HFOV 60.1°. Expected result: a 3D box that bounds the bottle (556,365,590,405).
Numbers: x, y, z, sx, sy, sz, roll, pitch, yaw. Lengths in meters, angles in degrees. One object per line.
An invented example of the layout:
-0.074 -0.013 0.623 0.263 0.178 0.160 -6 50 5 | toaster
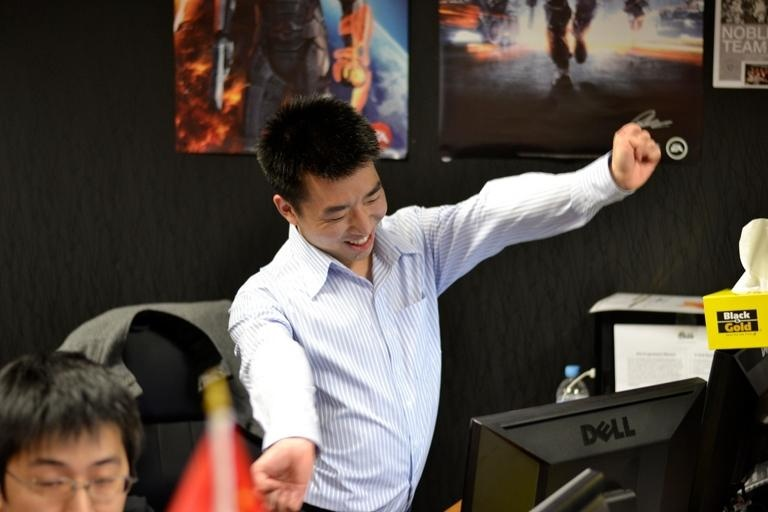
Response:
0.797 0.533 2.783 0.119 0.143 0.130 -10 -10 18 | bottle
